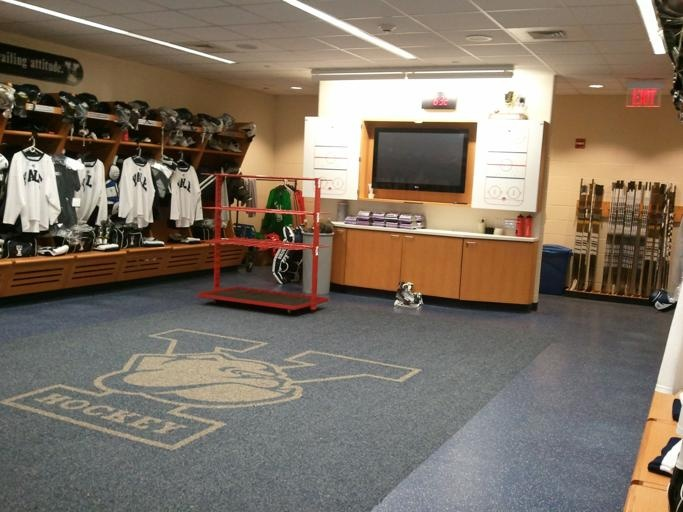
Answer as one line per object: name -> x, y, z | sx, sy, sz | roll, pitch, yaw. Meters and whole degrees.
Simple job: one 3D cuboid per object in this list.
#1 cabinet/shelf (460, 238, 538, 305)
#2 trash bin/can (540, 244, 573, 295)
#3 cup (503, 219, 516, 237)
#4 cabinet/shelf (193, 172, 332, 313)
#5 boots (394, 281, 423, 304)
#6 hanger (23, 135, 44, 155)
cabinet/shelf -> 2.666, 0.245, 7.780 | 1.802, 1.344, 1.038 | 2, 2, 14
trash bin/can -> 4.209, 0.289, 8.812 | 0.509, 0.945, 0.252 | 7, 8, 21
cup -> 2.836, -0.495, 7.529 | 0.216, 0.264, 0.141 | 4, 7, 1
cabinet/shelf -> -1.479, -0.243, 8.234 | 3.050, 2.608, 1.418 | 3, 5, 28
boots -> 1.163, 0.609, 7.558 | 0.432, 0.327, 0.396 | 0, 2, 18
hanger -> -4.513, -1.633, 6.532 | 0.440, 0.250, 0.039 | 3, 3, -2
